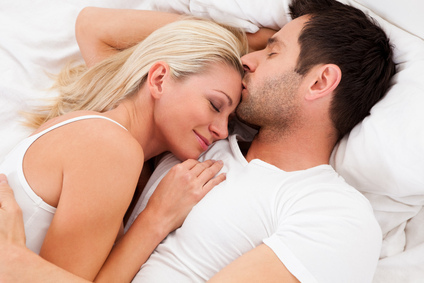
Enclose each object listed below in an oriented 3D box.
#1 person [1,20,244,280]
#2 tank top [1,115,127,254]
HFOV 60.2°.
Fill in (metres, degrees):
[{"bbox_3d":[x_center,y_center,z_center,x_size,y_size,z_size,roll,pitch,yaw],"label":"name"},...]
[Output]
[{"bbox_3d":[-0.368,0.044,2.237,1.135,0.606,1.538,40,77,14],"label":"person"},{"bbox_3d":[-0.807,0.139,1.785,0.360,0.482,0.552,25,46,24],"label":"tank top"}]
